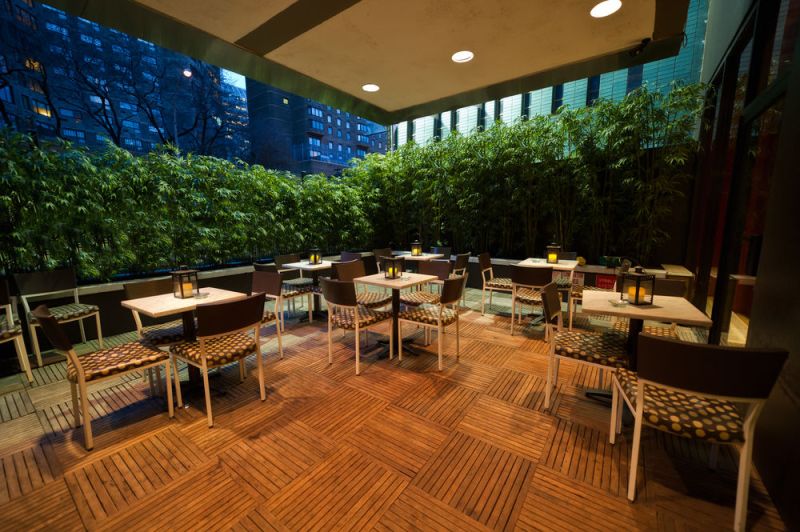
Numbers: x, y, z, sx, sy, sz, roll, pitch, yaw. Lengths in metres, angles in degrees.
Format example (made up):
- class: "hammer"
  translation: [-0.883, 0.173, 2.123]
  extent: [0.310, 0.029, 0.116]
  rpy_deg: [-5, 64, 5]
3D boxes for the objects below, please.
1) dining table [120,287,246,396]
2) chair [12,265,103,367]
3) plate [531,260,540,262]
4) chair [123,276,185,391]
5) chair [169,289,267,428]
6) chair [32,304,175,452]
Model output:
- class: "dining table"
  translation: [-2.269, 0.865, 5.324]
  extent: [1.210, 1.134, 1.226]
  rpy_deg: [9, 15, 29]
- class: "chair"
  translation: [-4.200, 0.599, 5.845]
  extent: [0.741, 1.058, 0.661]
  rpy_deg: [11, 17, 40]
- class: "plate"
  translation: [2.041, -0.098, 7.137]
  extent: [0.087, 0.030, 0.057]
  rpy_deg: [-2, 2, -29]
- class: "chair"
  translation: [-2.671, 0.688, 5.426]
  extent: [0.615, 0.995, 0.696]
  rpy_deg: [-19, 27, -28]
- class: "chair"
  translation: [-1.943, 0.914, 5.155]
  extent: [0.838, 1.244, 0.737]
  rpy_deg: [9, 15, 41]
- class: "chair"
  translation: [-2.992, 1.056, 4.908]
  extent: [0.878, 1.297, 1.037]
  rpy_deg: [4, 11, 42]
